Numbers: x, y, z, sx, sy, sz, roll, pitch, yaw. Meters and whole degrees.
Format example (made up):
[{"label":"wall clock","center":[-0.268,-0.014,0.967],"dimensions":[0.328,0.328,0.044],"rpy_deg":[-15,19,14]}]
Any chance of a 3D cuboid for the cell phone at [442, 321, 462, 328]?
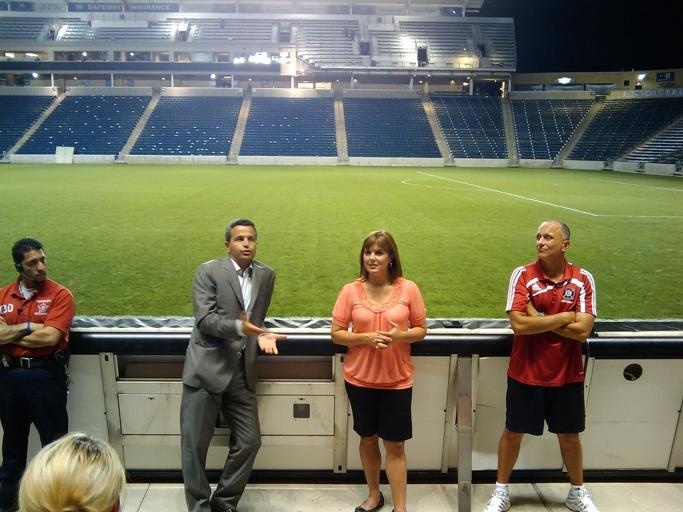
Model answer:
[{"label":"cell phone","center":[0.791,0.473,3.936],"dimensions":[0.145,0.015,0.161],"rpy_deg":[0,9,7]}]
